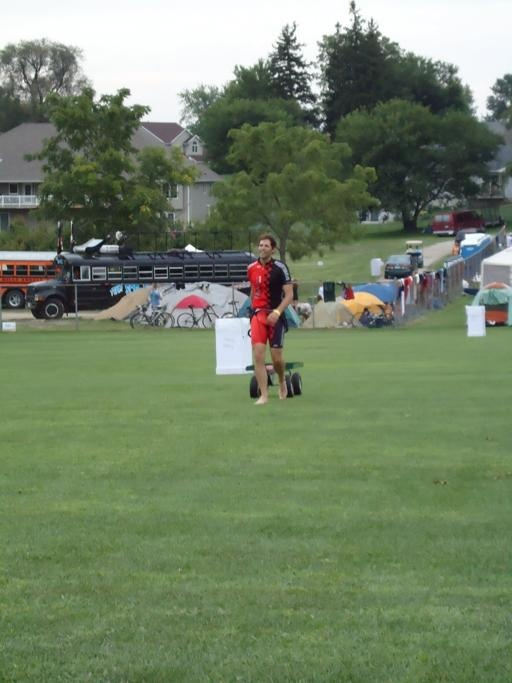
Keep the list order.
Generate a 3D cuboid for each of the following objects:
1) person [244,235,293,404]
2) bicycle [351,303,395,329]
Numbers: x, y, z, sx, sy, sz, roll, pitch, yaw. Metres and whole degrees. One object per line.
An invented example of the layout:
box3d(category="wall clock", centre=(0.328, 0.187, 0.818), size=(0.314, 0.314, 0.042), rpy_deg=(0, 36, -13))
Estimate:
box3d(category="person", centre=(0.148, -0.198, 14.821), size=(0.398, 1.594, 1.172), rpy_deg=(-3, 4, 0))
box3d(category="bicycle", centre=(2.889, -0.577, 37.974), size=(0.819, 0.499, 0.600), rpy_deg=(-4, 4, 0))
